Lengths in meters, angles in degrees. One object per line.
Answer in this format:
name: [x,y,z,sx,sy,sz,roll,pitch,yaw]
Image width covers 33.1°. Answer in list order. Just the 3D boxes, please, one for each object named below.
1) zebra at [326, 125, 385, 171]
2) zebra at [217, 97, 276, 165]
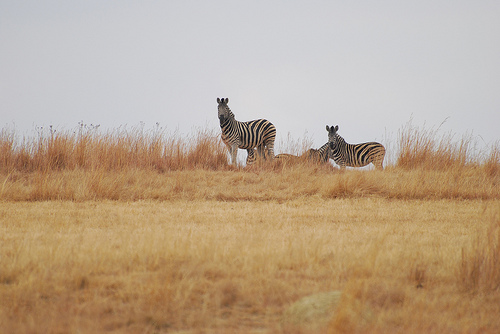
zebra: [1.412,-0.273,11.566,0.777,0.541,0.923,3,0,1]
zebra: [-0.124,-0.485,12.179,1.205,1.013,0.365,0,8,-37]
